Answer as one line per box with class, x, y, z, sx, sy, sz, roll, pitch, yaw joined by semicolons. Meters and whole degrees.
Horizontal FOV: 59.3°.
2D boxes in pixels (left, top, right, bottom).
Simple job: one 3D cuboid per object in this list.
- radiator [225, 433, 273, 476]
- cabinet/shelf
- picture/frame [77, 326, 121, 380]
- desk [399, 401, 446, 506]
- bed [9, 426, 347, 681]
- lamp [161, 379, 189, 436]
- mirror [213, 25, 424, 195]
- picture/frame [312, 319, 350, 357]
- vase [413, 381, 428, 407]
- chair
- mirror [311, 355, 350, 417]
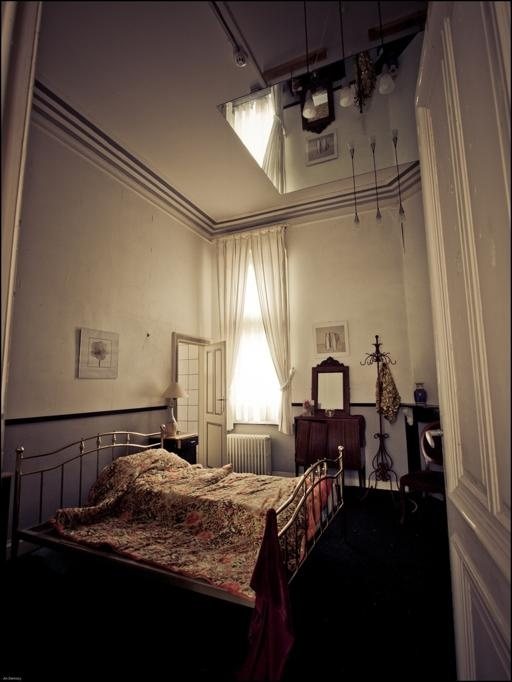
radiator;-0.063;1.377;5.400;0.414;0.589;0.170;0;-3;20
cabinet/shelf;0.721;1.083;4.358;0.537;0.742;0.261;-4;-10;26
picture/frame;-1.416;0.108;4.008;0.025;0.473;0.393;0;-1;21
desk;1.410;1.100;3.830;0.322;0.790;0.363;-4;-6;15
bed;-0.283;1.086;2.517;1.181;0.899;1.266;0;1;28
lamp;-0.887;0.721;4.771;0.212;0.581;0.209;7;-6;-42
mirror;0.688;-1.984;4.185;1.872;1.366;1.449;-11;26;26
picture/frame;0.927;-0.033;5.457;0.297;0.404;0.033;-6;-11;32
vase;1.669;0.531;4.560;0.146;0.325;0.159;-6;-12;34
chair;1.476;1.114;3.770;0.389;0.923;0.388;5;-4;-34
mirror;0.872;0.562;5.360;0.462;0.065;0.934;0;-50;12
